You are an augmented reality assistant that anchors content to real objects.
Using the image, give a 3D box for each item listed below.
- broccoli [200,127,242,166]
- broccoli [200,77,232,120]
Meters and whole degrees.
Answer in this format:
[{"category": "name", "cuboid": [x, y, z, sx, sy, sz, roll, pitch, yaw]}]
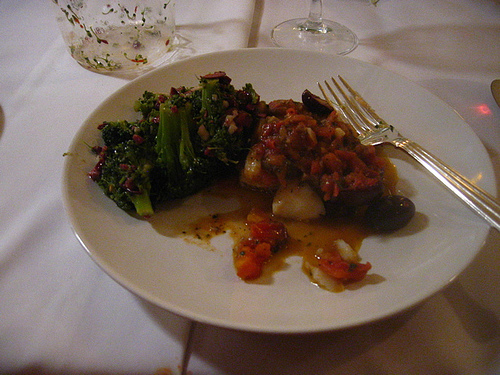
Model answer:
[{"category": "broccoli", "cuboid": [-0.168, -0.266, 2.700, 0.286, 0.139, 0.230, 2, 39, -18]}, {"category": "broccoli", "cuboid": [-0.221, -0.579, 2.725, 0.253, 0.072, 0.273, -4, 90, -4]}]
